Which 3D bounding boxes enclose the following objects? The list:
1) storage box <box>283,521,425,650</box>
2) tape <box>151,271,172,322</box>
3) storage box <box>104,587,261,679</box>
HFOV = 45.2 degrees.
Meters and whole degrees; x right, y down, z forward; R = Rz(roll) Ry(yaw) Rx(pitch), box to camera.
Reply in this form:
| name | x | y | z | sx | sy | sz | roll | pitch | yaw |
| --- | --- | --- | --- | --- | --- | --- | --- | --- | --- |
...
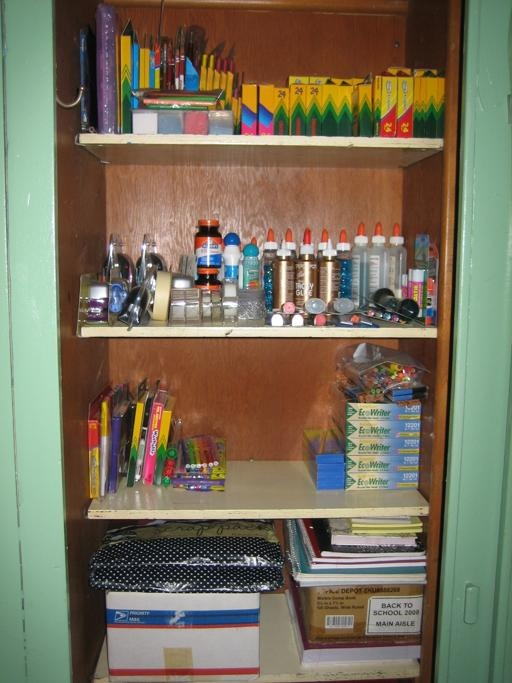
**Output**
| name | x | y | z | sx | sy | sz | roll | pitch | yaw |
| --- | --- | --- | --- | --- | --- | --- | --- | --- | --- |
| storage box | 0.259 | 0.659 | 1.662 | 0.268 | 0.182 | 0.280 | 0 | -2 | -1 |
| tape | -0.238 | -0.109 | 1.551 | 0.030 | 0.101 | 0.097 | 6 | 20 | 1 |
| storage box | -0.186 | 0.737 | 1.542 | 0.257 | 0.179 | 0.276 | 1 | -6 | 0 |
